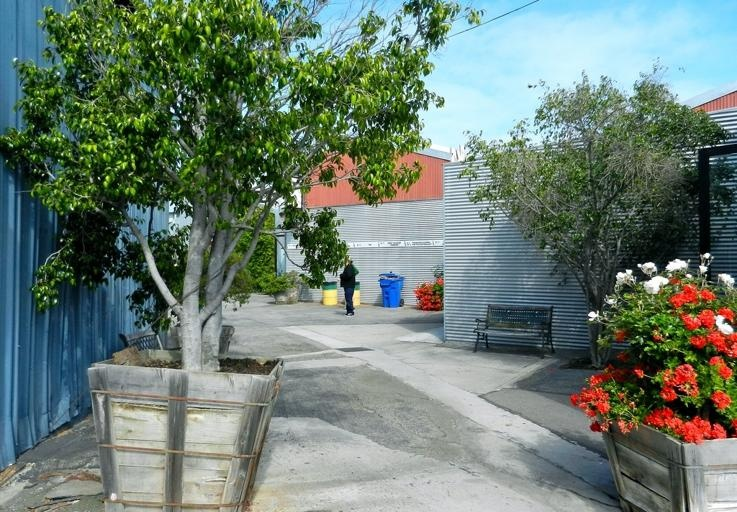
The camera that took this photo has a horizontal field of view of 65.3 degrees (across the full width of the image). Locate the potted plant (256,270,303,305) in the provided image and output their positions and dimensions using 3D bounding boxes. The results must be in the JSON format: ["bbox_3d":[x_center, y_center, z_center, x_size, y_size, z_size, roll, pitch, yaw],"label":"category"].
[{"bbox_3d":[-3.826,1.378,25.846,1.515,1.302,1.092,0,6,-9],"label":"potted plant"}]

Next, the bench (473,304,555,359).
[{"bbox_3d":[3.165,1.549,12.649,1.714,1.072,1.430,3,6,30],"label":"bench"}]

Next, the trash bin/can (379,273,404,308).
[{"bbox_3d":[0.911,1.411,24.387,0.832,1.370,1.154,2,6,10],"label":"trash bin/can"}]
